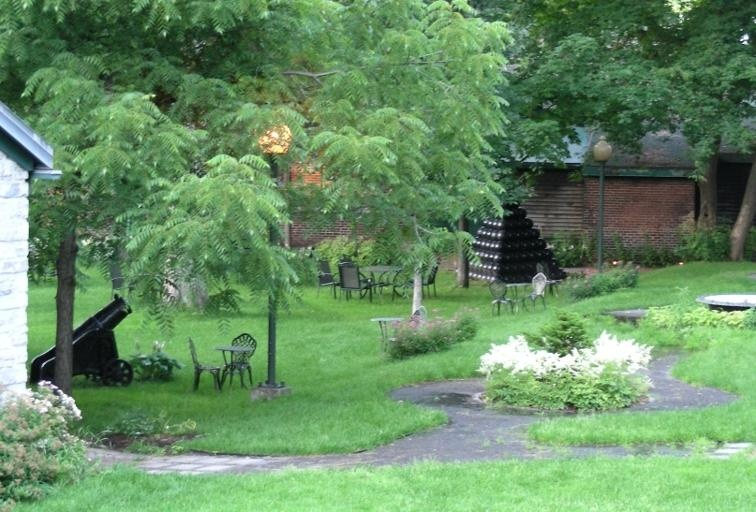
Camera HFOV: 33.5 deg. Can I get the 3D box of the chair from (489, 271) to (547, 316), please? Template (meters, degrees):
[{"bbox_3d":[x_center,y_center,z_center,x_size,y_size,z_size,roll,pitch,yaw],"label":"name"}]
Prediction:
[{"bbox_3d":[3.803,1.054,34.261,1.837,0.834,0.918,-3,5,-29],"label":"chair"}]

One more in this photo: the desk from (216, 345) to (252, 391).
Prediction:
[{"bbox_3d":[-3.090,2.319,27.402,0.835,1.034,0.771,4,6,8],"label":"desk"}]
